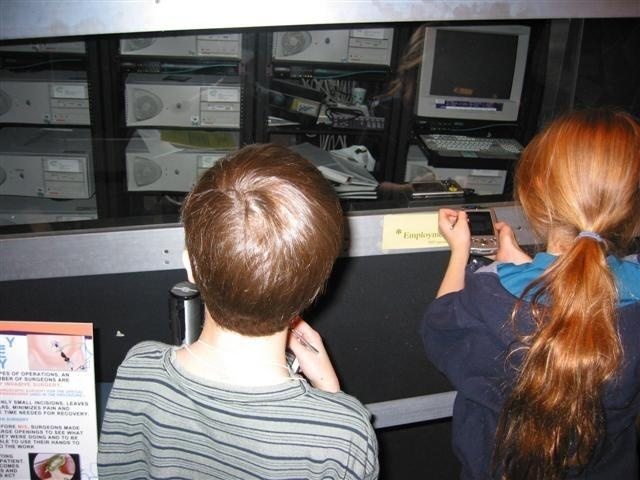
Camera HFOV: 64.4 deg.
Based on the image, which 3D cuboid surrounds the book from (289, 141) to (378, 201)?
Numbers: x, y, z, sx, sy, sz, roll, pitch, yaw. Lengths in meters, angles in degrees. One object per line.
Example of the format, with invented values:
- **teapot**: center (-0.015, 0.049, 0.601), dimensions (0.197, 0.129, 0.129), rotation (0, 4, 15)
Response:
- **book**: center (0.056, -0.183, 1.598), dimensions (0.224, 0.065, 0.232), rotation (37, 22, 33)

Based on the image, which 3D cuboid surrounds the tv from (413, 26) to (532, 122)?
- **tv**: center (0.585, -0.624, 1.938), dimensions (0.486, 0.410, 0.247), rotation (3, 50, 2)
